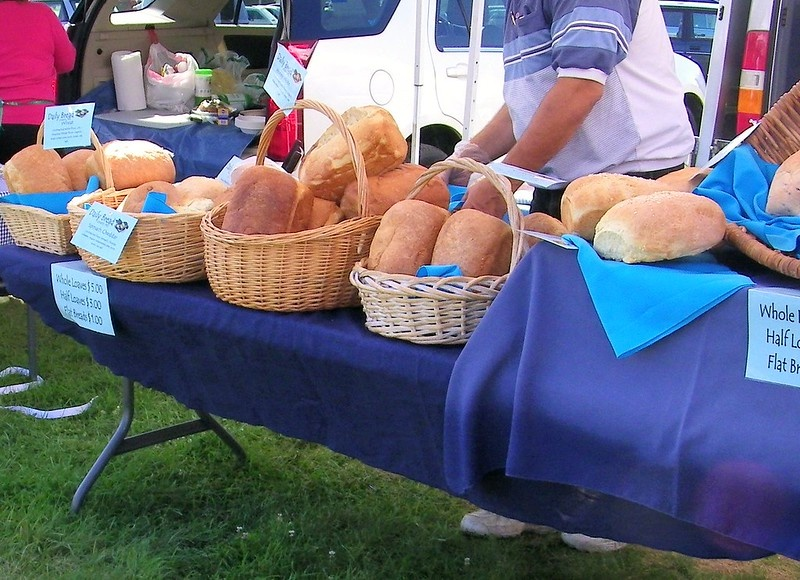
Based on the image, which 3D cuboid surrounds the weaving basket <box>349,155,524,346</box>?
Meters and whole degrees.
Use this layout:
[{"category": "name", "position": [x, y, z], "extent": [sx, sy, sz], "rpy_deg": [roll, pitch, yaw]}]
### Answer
[{"category": "weaving basket", "position": [0.157, -0.102, 1.626], "extent": [0.354, 0.346, 0.472], "rpy_deg": [16, 17, 34]}]

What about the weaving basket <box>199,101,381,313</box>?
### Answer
[{"category": "weaving basket", "position": [-0.327, -0.224, 1.786], "extent": [0.380, 0.431, 0.493], "rpy_deg": [16, 13, 21]}]

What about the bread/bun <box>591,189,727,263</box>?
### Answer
[{"category": "bread/bun", "position": [0.539, -0.130, 1.298], "extent": [0.212, 0.069, 0.152], "rpy_deg": [-17, 11, -28]}]

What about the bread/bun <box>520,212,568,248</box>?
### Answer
[{"category": "bread/bun", "position": [0.350, -0.161, 1.594], "extent": [0.088, 0.061, 0.109], "rpy_deg": [-9, 32, -44]}]

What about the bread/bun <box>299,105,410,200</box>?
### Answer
[{"category": "bread/bun", "position": [-0.176, -0.394, 1.898], "extent": [0.413, 0.144, 0.300], "rpy_deg": [-24, 0, 6]}]

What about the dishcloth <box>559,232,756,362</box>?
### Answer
[{"category": "dishcloth", "position": [0.591, -0.012, 1.397], "extent": [0.458, 0.109, 0.411], "rpy_deg": [9, 5, -6]}]

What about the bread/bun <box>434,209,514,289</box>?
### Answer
[{"category": "bread/bun", "position": [0.187, -0.100, 1.613], "extent": [0.174, 0.161, 0.172], "rpy_deg": [6, -21, 45]}]

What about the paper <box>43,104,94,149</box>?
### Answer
[{"category": "paper", "position": [-1.128, -0.554, 2.171], "extent": [0.185, 0.173, 0.043], "rpy_deg": [1, -5, 19]}]

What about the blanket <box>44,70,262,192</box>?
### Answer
[{"category": "blanket", "position": [-1.582, -1.051, 4.280], "extent": [1.167, 0.272, 1.137], "rpy_deg": [19, 34, 24]}]

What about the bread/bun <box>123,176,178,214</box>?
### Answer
[{"category": "bread/bun", "position": [-0.766, -0.274, 1.940], "extent": [0.117, 0.053, 0.144], "rpy_deg": [-7, 24, 17]}]

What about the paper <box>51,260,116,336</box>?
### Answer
[{"category": "paper", "position": [-0.918, 0.011, 1.935], "extent": [0.226, 0.138, 0.223], "rpy_deg": [12, 14, 32]}]

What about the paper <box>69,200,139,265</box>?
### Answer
[{"category": "paper", "position": [-0.839, -0.152, 1.841], "extent": [0.188, 0.185, 0.044], "rpy_deg": [28, 6, 21]}]
